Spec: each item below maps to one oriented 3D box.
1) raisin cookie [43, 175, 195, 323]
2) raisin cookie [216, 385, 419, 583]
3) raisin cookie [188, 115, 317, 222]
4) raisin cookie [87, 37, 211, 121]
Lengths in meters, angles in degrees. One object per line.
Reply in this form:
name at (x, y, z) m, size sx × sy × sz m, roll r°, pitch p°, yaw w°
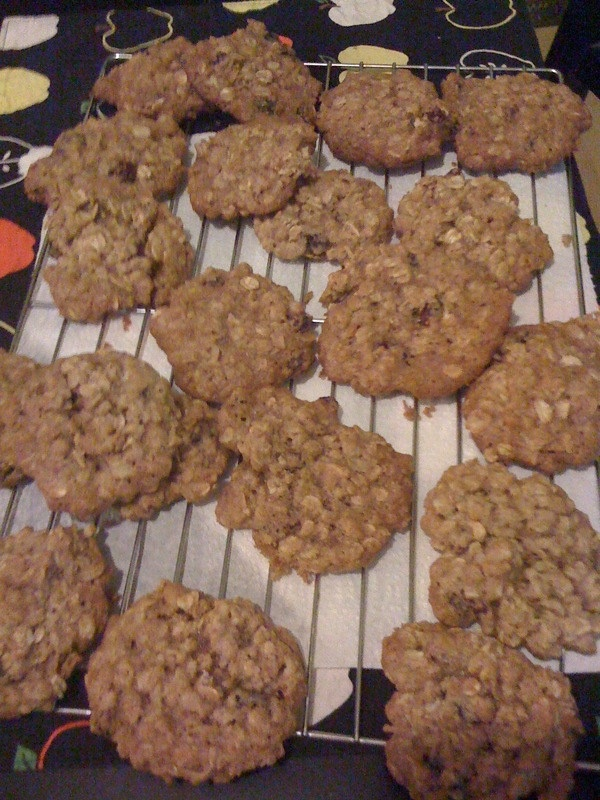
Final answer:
raisin cookie at (-0.499, -0.405, 1.670) m, size 0.337 × 0.077 × 0.403 m, roll -3°, pitch 83°, yaw -2°
raisin cookie at (0.039, 0.210, 1.606) m, size 0.495 × 0.239 × 0.439 m, roll 0°, pitch 63°, yaw 0°
raisin cookie at (-0.239, -0.672, 1.827) m, size 0.251 × 0.339 × 0.071 m, roll -25°, pitch 84°, yaw -30°
raisin cookie at (-0.447, -0.946, 1.937) m, size 0.275 × 0.102 × 0.266 m, roll 15°, pitch 83°, yaw 25°
